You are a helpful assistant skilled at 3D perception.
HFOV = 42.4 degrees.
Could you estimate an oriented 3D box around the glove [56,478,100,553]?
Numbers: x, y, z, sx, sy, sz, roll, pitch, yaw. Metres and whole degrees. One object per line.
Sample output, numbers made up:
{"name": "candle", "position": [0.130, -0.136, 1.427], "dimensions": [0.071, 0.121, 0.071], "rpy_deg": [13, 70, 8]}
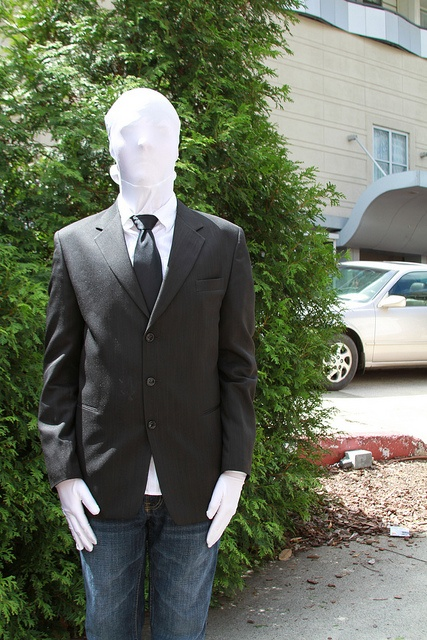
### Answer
{"name": "glove", "position": [-0.331, 0.480, 1.345], "dimensions": [0.112, 0.191, 0.055], "rpy_deg": [1, 7, -3]}
